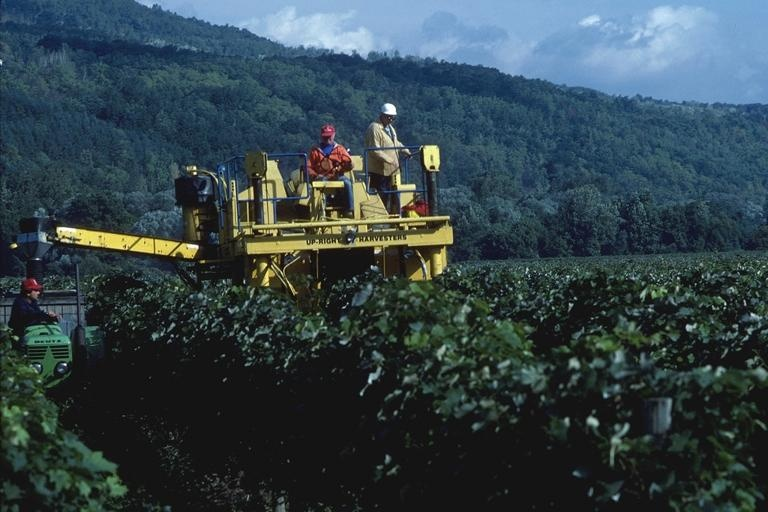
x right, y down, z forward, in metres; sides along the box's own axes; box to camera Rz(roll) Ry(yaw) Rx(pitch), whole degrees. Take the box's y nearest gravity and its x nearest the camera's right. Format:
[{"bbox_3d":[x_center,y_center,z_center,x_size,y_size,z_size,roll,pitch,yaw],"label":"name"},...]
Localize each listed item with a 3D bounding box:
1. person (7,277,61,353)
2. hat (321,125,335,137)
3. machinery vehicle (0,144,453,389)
[{"bbox_3d":[-5.317,0.772,13.099,0.604,0.824,0.747,-4,0,-32],"label":"person"},{"bbox_3d":[-1.020,-2.326,16.093,0.236,0.152,0.381,0,7,1],"label":"hat"},{"bbox_3d":[-2.760,-0.465,16.051,7.231,4.032,4.452,-2,3,-15],"label":"machinery vehicle"}]
